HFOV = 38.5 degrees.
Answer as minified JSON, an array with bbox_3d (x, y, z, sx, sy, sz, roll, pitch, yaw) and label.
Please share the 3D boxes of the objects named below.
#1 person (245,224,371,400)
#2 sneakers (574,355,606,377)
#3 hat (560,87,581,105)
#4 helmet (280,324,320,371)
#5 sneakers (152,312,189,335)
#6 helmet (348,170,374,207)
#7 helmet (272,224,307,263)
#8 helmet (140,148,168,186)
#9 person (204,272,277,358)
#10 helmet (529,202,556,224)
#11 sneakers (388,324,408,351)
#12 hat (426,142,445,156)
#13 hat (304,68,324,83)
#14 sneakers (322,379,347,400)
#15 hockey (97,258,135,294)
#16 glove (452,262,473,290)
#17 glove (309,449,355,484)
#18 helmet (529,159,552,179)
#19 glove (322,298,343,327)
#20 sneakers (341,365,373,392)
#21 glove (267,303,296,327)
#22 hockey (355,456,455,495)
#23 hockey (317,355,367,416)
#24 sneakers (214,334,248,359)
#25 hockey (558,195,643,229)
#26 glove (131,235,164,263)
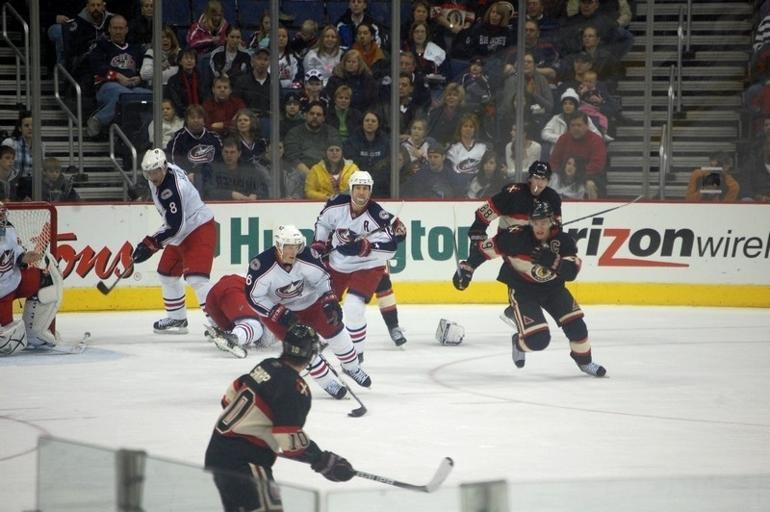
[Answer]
[{"bbox_3d":[-0.728,0.409,9.487,0.690,1.434,1.344,-26,16,-27],"label":"person"},{"bbox_3d":[1.839,0.979,9.908,0.253,0.162,0.087,14,38,22],"label":"sneakers"},{"bbox_3d":[2.167,-1.864,12.919,0.190,0.118,0.186,4,13,20],"label":"hat"},{"bbox_3d":[-0.549,0.586,7.576,0.251,0.269,0.298,17,28,-4],"label":"helmet"},{"bbox_3d":[-2.179,0.699,11.277,0.393,0.239,0.141,5,4,-4],"label":"sneakers"},{"bbox_3d":[-0.226,-0.650,10.486,0.265,0.320,0.342,1,4,-8],"label":"helmet"},{"bbox_3d":[-0.795,-0.099,9.527,0.279,0.304,0.326,2,11,-15],"label":"helmet"},{"bbox_3d":[-2.226,-0.860,10.711,0.225,0.349,0.211,-1,13,-6],"label":"helmet"},{"bbox_3d":[-1.401,0.629,10.154,0.565,0.291,0.809,-14,52,-21],"label":"person"},{"bbox_3d":[1.415,-0.385,9.899,0.184,0.192,0.220,1,-24,7],"label":"helmet"},{"bbox_3d":[0.131,0.788,10.878,0.099,0.105,0.283,-28,31,4],"label":"sneakers"},{"bbox_3d":[0.590,-1.235,12.628,0.135,0.147,0.178,29,-11,9],"label":"hat"},{"bbox_3d":[-0.798,-2.048,12.495,0.213,0.123,0.080,-1,13,-4],"label":"hat"},{"bbox_3d":[-0.403,1.094,9.216,0.214,0.109,0.087,32,24,-17],"label":"sneakers"},{"bbox_3d":[-2.884,0.198,11.683,0.461,0.137,0.443,-35,32,4],"label":"hockey"},{"bbox_3d":[0.727,0.176,10.322,0.209,0.240,0.100,10,-10,40],"label":"glove"},{"bbox_3d":[-0.352,1.381,7.399,0.301,0.169,0.114,35,7,-16],"label":"glove"},{"bbox_3d":[1.459,-0.806,10.331,0.167,0.113,0.225,7,-16,3],"label":"helmet"},{"bbox_3d":[-0.464,0.467,9.352,0.073,0.206,0.163,-33,-18,32],"label":"glove"},{"bbox_3d":[-0.259,0.992,9.438,0.356,0.116,0.151,40,4,13],"label":"sneakers"},{"bbox_3d":[-0.869,0.485,9.247,0.208,0.155,0.073,18,28,14],"label":"glove"},{"bbox_3d":[0.054,1.454,7.459,0.336,0.074,1.211,-34,15,-38],"label":"hockey"},{"bbox_3d":[-0.308,1.017,8.961,0.165,0.669,0.234,-36,-4,-25],"label":"hockey"},{"bbox_3d":[-1.369,0.794,9.900,0.310,0.101,0.145,35,-12,-21],"label":"sneakers"},{"bbox_3d":[2.476,-0.496,12.674,1.225,0.082,0.128,-19,-16,20],"label":"hockey"},{"bbox_3d":[-2.331,-0.085,10.847,0.201,0.333,0.095,46,4,-11],"label":"glove"}]
